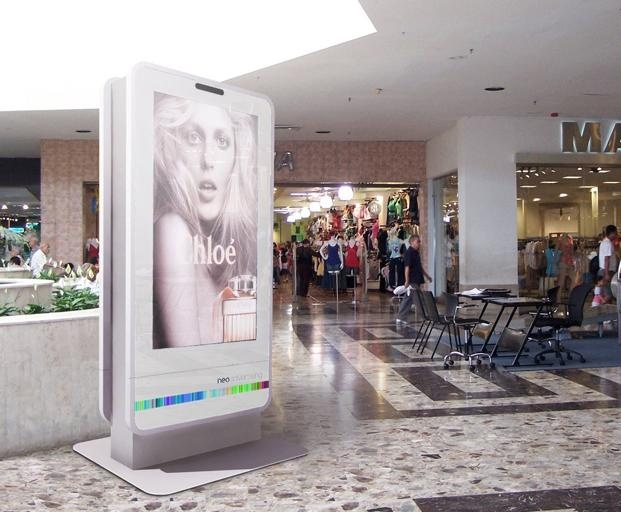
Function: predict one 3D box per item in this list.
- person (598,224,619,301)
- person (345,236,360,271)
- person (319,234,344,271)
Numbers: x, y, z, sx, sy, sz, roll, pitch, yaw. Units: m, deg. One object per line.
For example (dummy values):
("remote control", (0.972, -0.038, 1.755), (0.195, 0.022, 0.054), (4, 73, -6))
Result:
("person", (5.703, 0.143, 9.412), (0.330, 1.462, 1.316), (0, 3, 32))
("person", (1.207, -0.036, 14.125), (0.382, 0.917, 0.317), (-1, 2, 3))
("person", (0.709, -0.060, 14.559), (0.549, 1.156, 1.290), (-1, 2, -9))
